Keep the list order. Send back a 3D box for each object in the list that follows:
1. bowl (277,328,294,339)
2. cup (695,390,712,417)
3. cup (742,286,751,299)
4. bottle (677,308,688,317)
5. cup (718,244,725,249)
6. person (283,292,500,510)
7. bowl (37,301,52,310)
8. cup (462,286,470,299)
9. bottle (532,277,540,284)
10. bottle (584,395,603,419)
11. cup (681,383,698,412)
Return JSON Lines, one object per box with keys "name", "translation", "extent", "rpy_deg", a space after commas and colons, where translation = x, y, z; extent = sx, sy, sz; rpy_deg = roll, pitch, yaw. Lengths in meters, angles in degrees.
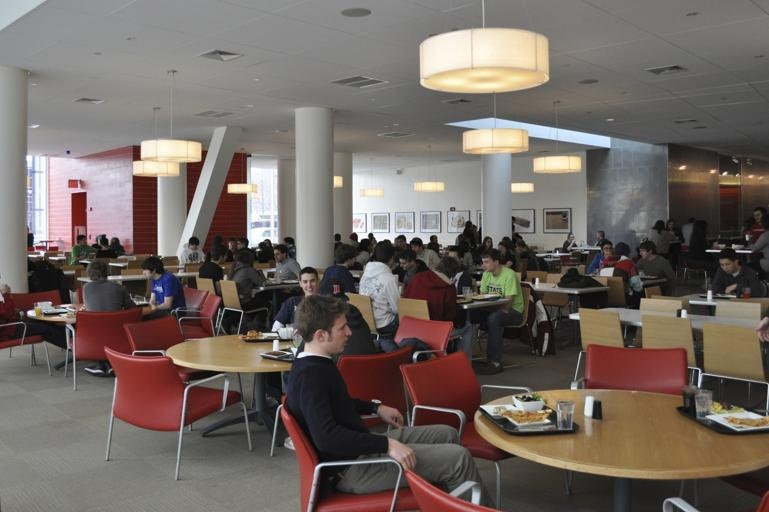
{"name": "bowl", "translation": [-1.001, 0.786, 6.109], "extent": [0.126, 0.093, 0.129], "rpy_deg": [0, -4, 0]}
{"name": "cup", "translation": [2.265, 1.030, 4.249], "extent": [0.175, 0.171, 0.074], "rpy_deg": [-7, 12, -34]}
{"name": "cup", "translation": [4.863, 0.502, 8.069], "extent": [0.115, 0.164, 0.117], "rpy_deg": [2, 1, 0]}
{"name": "bottle", "translation": [3.411, 0.652, 6.898], "extent": [0.098, 0.098, 0.095], "rpy_deg": [1, 0, -29]}
{"name": "cup", "translation": [9.431, -0.256, 16.813], "extent": [0.255, 0.110, 0.255], "rpy_deg": [-1, -5, 0]}
{"name": "person", "translation": [-0.266, 0.908, 4.823], "extent": [1.646, 1.821, 1.064], "rpy_deg": [-12, 10, -12]}
{"name": "bowl", "translation": [-4.656, 0.683, 8.235], "extent": [0.154, 0.036, 0.147], "rpy_deg": [2, 5, 0]}
{"name": "cup", "translation": [1.216, 0.530, 8.864], "extent": [0.133, 0.121, 0.105], "rpy_deg": [0, 0, 0]}
{"name": "bottle", "translation": [2.668, 0.431, 10.586], "extent": [0.093, 0.155, 0.095], "rpy_deg": [-1, 10, 0]}
{"name": "bottle", "translation": [1.502, 1.076, 4.295], "extent": [0.135, 0.133, 0.130], "rpy_deg": [-1, 10, -6]}
{"name": "cup", "translation": [2.209, 1.015, 4.350], "extent": [0.084, 0.179, 0.263], "rpy_deg": [4, 11, 26]}
